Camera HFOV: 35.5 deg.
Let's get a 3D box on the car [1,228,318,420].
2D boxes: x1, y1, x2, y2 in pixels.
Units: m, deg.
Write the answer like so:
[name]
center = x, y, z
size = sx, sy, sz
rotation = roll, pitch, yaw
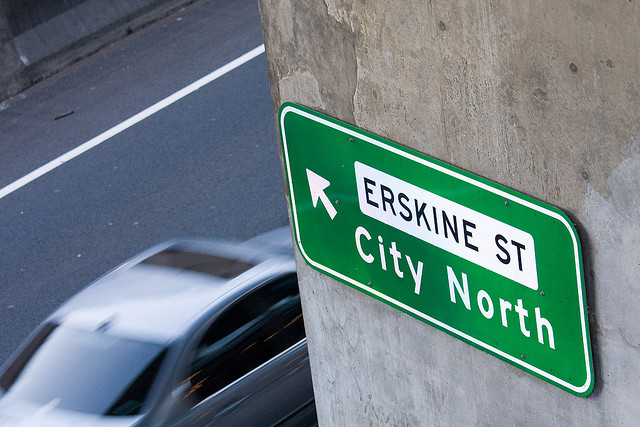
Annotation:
[car]
center = -1.133, 1.354, 8.343
size = 1.226, 0.942, 2.751
rotation = 22, 43, 34
